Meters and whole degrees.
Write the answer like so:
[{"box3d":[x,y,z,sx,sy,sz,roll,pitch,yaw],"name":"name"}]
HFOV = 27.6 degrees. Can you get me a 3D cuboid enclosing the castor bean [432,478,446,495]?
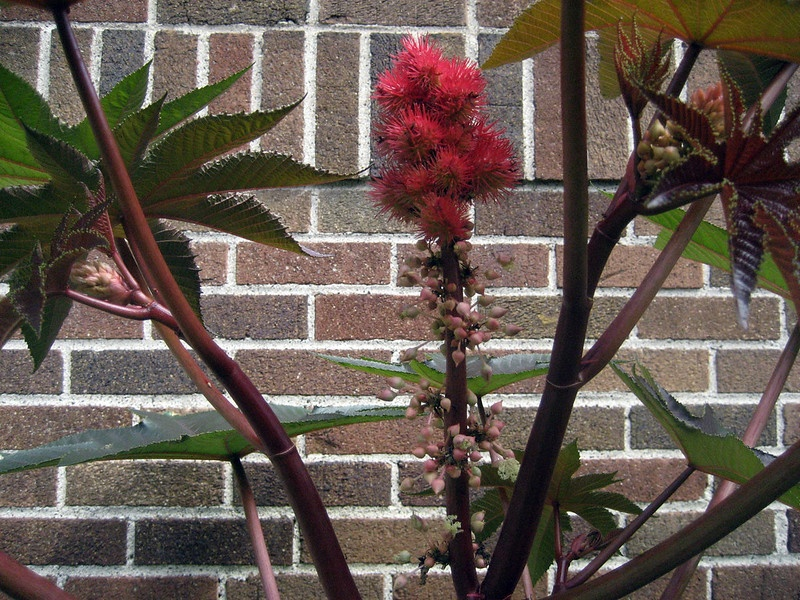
[{"box3d":[0.040,0.205,1.784,0.020,0.019,0.017,-6,-14,30],"name":"castor bean"}]
